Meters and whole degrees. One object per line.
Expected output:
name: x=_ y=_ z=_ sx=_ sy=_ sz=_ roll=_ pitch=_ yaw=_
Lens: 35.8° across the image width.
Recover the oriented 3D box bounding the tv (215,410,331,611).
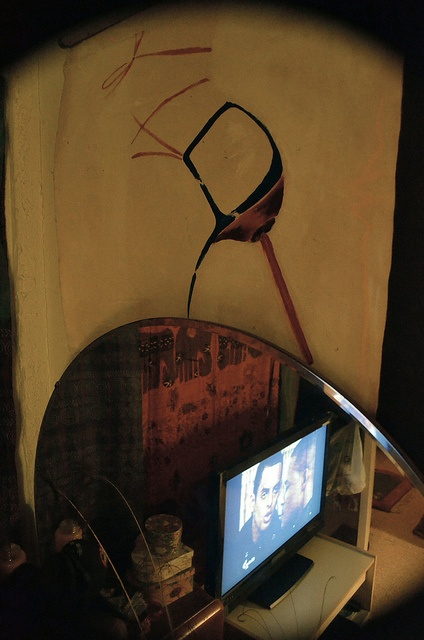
tv: x=0.092 y=0.290 z=1.019 sx=0.280 sy=0.333 sz=0.024 roll=-28 pitch=42 yaw=-33
